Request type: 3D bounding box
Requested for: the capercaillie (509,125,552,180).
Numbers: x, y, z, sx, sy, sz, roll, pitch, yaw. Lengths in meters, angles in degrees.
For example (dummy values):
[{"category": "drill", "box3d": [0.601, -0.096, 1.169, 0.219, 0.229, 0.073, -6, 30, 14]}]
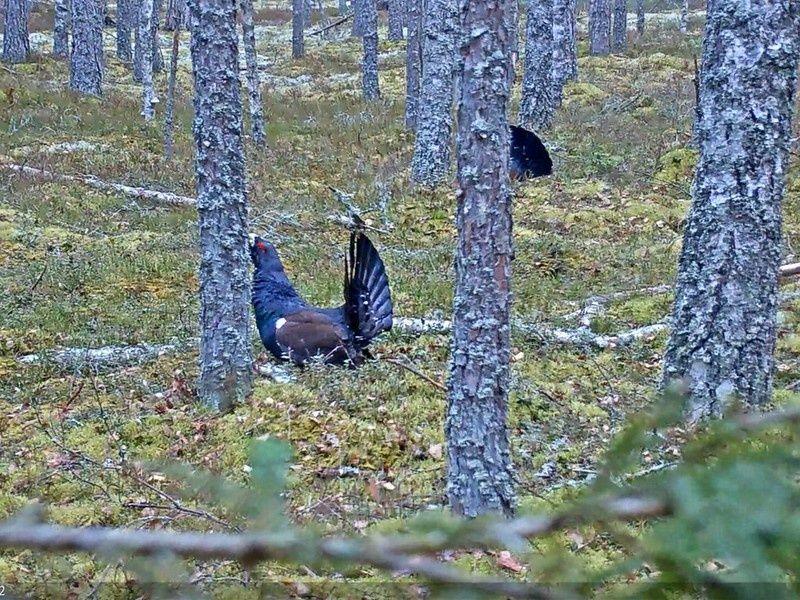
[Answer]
[{"category": "capercaillie", "box3d": [2.900, -3.251, 25.091, 0.919, 1.178, 0.552, 2, 15, 5]}]
